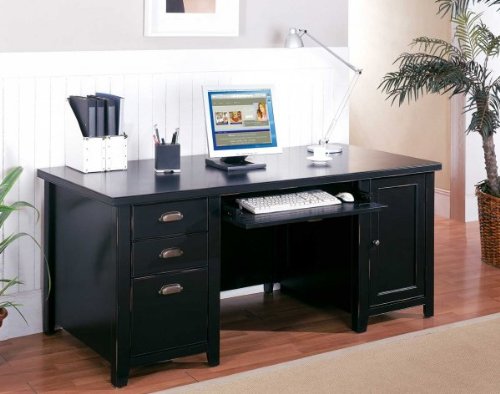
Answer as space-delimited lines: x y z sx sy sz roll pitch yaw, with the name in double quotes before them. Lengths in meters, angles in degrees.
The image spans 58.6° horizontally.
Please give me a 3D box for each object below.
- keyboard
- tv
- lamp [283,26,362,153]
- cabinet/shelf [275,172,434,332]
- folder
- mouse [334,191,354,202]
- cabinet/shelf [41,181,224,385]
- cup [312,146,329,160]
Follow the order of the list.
"keyboard" 0.187 0.019 2.129 0.483 0.050 0.207 -5 15 -22
"tv" -0.048 -0.366 2.344 0.527 0.471 0.276 -5 11 -27
"lamp" 0.473 -0.683 2.821 0.547 0.755 0.459 -2 15 -11
"cabinet/shelf" 0.675 0.251 2.633 0.616 0.862 0.971 -6 8 -41
"folder" -0.761 -0.438 2.284 0.222 0.268 0.291 -16 28 -40
"mouse" 0.477 -0.006 2.191 0.048 0.024 0.075 -5 10 -23
"cabinet/shelf" -0.522 0.283 2.295 0.647 0.984 1.001 -7 13 -36
"cup" 0.389 -0.245 2.492 0.083 0.075 0.107 -4 6 -28
